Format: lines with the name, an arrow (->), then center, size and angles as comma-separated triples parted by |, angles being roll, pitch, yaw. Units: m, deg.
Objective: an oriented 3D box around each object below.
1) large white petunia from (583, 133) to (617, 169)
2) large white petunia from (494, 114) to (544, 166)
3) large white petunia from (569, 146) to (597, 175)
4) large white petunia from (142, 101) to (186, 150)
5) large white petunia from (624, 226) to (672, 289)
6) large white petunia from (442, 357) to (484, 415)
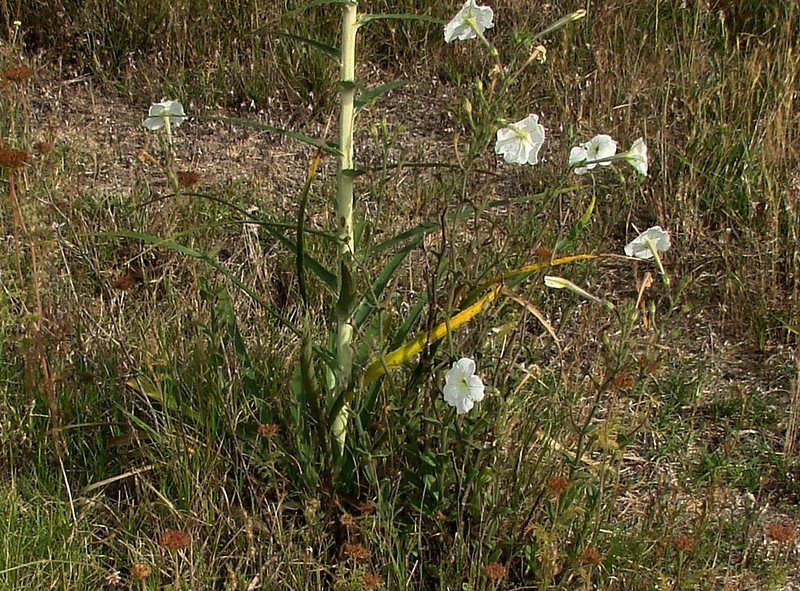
large white petunia -> 0.631, -0.460, 2.724 | 0.092, 0.103, 0.254 | 7, 29, 11
large white petunia -> 0.362, -0.474, 2.631 | 0.139, 0.164, 0.209 | 4, 27, 5
large white petunia -> 0.564, -0.397, 2.705 | 0.037, 0.121, 0.088 | -15, -3, 43
large white petunia -> -0.772, -0.548, 2.839 | 0.108, 0.157, 0.103 | -9, -7, -39
large white petunia -> 0.825, -0.121, 2.755 | 0.102, 0.172, 0.114 | -32, -19, -10
large white petunia -> 0.196, 0.266, 2.628 | 0.125, 0.165, 0.049 | -29, -15, 34
